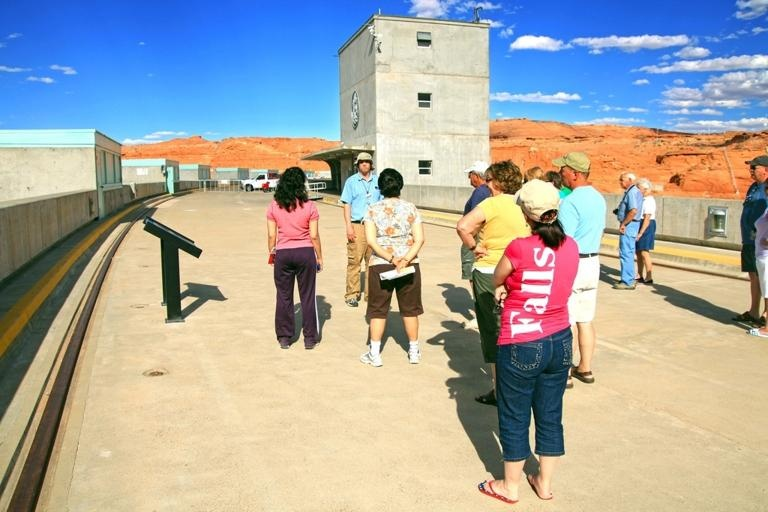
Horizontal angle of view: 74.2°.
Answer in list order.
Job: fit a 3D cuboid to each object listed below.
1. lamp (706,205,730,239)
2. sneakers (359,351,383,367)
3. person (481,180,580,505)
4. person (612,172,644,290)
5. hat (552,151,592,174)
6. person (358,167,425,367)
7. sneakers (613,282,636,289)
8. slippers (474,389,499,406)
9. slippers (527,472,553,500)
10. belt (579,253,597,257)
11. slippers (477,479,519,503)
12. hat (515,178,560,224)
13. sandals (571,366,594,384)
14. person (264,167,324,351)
[{"bbox_3d":[9.117,-0.907,13.944,0.157,0.919,0.575,-4,14,-19],"label":"lamp"},{"bbox_3d":[-0.154,1.263,6.270,0.135,0.135,0.303,-3,11,-28],"label":"sneakers"},{"bbox_3d":[1.158,0.678,4.032,0.624,2.475,0.703,4,14,15],"label":"person"},{"bbox_3d":[4.816,-0.492,10.060,0.515,2.254,0.895,6,15,23],"label":"person"},{"bbox_3d":[2.169,-1.079,5.911,0.429,0.208,0.293,15,21,21],"label":"hat"},{"bbox_3d":[0.099,0.178,6.122,0.740,2.373,0.543,1,14,3],"label":"person"},{"bbox_3d":[4.729,0.590,9.982,0.355,0.142,0.177,4,7,20],"label":"sneakers"},{"bbox_3d":[1.104,1.502,5.443,0.303,0.198,0.101,3,1,34],"label":"slippers"},{"bbox_3d":[1.274,1.863,4.151,0.083,0.100,0.230,1,24,-4],"label":"slippers"},{"bbox_3d":[2.323,-0.011,5.776,0.254,0.041,0.057,-7,15,-30],"label":"belt"},{"bbox_3d":[0.905,1.891,4.080,0.242,0.055,0.138,26,23,38],"label":"slippers"},{"bbox_3d":[1.213,-0.443,4.045,0.273,0.186,0.364,-11,33,3],"label":"hat"},{"bbox_3d":[2.307,1.393,5.970,0.127,0.113,0.329,-1,8,-12],"label":"sandals"},{"bbox_3d":[-1.188,0.023,6.818,0.682,2.361,0.658,-3,14,-13],"label":"person"}]
